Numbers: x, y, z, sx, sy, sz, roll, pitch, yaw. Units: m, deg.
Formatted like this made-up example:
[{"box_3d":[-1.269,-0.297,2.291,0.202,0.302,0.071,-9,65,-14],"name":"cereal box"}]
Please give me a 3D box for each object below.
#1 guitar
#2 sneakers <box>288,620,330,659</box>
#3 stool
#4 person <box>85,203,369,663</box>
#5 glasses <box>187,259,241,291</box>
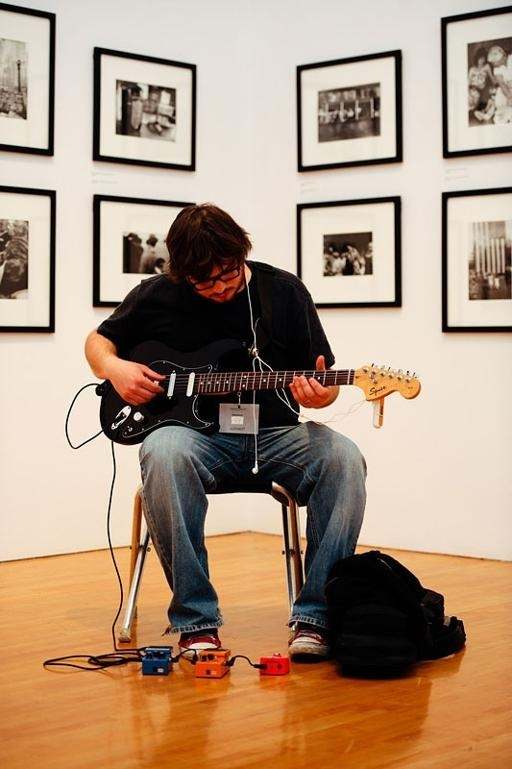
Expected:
[{"box_3d":[-0.019,0.061,1.670,0.822,0.289,0.146,-2,-18,15],"name":"guitar"},{"box_3d":[0.113,0.545,1.401,0.050,0.053,0.116,2,-18,0],"name":"sneakers"},{"box_3d":[-0.122,0.412,1.720,0.480,0.453,0.411,-1,-19,0],"name":"stool"},{"box_3d":[-0.058,0.093,1.702,0.577,1.078,0.687,7,-14,-40],"name":"person"},{"box_3d":[-0.100,-0.259,1.586,0.122,0.063,0.071,1,4,-5],"name":"glasses"}]
